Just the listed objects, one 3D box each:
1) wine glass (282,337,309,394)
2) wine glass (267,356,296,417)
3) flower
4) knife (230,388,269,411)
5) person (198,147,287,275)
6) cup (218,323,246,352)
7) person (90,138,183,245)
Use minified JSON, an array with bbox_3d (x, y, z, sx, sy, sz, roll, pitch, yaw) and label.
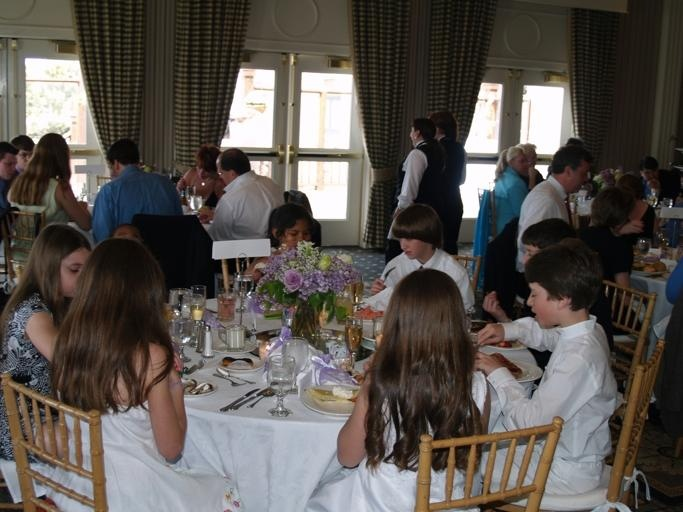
[{"bbox_3d":[-0.175,0.410,2.042,0.107,0.176,0.104,-1,7,-10],"label":"wine glass"},{"bbox_3d":[-0.201,0.453,1.852,0.098,0.182,0.107,-12,-19,42],"label":"wine glass"},{"bbox_3d":[-0.143,0.163,2.379,0.389,0.431,0.397,-1,9,-23],"label":"flower"},{"bbox_3d":[-0.324,0.519,1.882,0.037,0.025,0.220,10,17,18],"label":"knife"},{"bbox_3d":[-0.863,-0.278,4.870,0.644,1.279,0.578,-14,29,-34],"label":"person"},{"bbox_3d":[-0.473,0.361,2.356,0.126,0.125,0.087,0,5,-10],"label":"cup"},{"bbox_3d":[-1.546,-0.487,4.073,0.644,0.766,0.371,-2,8,-27],"label":"person"}]
